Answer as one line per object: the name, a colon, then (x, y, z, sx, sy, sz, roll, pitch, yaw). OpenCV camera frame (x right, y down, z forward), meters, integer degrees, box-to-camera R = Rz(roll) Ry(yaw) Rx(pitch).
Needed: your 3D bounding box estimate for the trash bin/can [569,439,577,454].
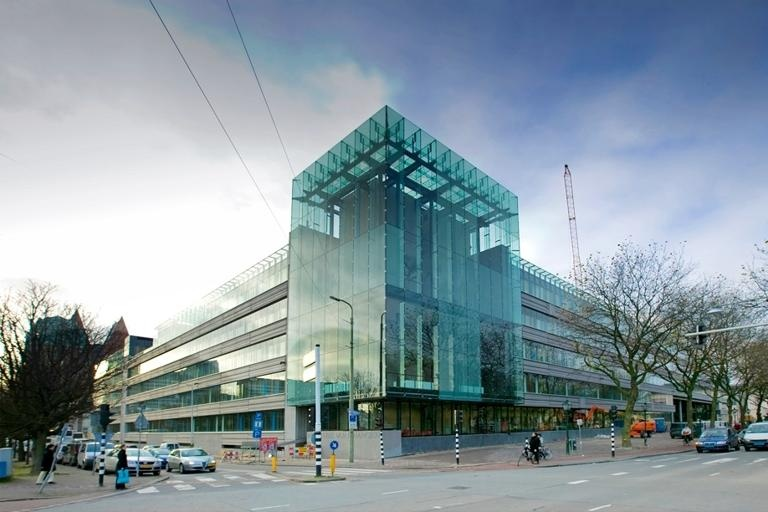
trash bin/can: (16.220, 16.115, 51.722, 0.573, 1.017, 1.551, -6, -24, 14)

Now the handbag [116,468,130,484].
handbag: (-15.745, 13.132, 36.407, 0.645, 0.800, 0.450, 16, -28, -35)
